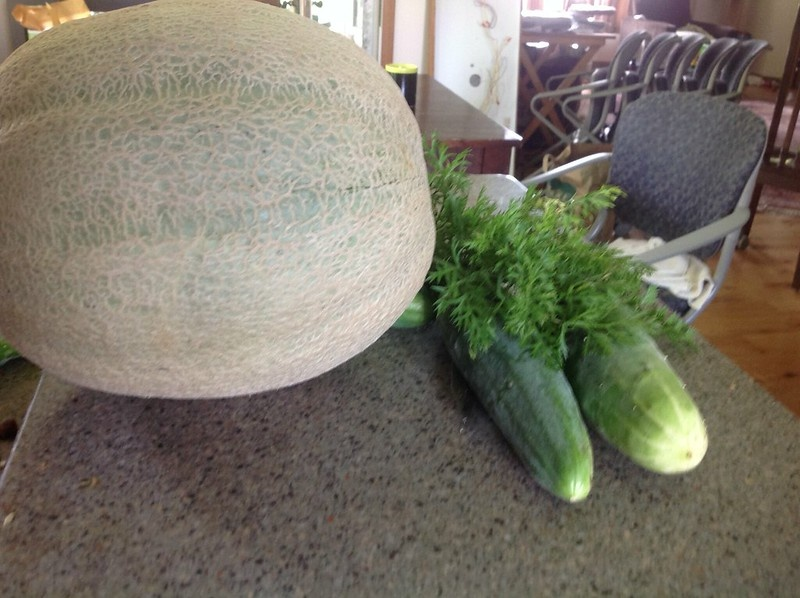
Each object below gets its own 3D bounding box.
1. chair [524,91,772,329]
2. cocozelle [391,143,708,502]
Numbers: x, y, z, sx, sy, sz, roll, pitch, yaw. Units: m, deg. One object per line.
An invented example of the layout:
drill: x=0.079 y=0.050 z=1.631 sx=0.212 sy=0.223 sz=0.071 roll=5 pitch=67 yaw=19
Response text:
chair: x=0.589 y=-0.276 z=1.329 sx=0.459 sy=0.597 sz=0.438 roll=-13 pitch=32 yaw=-26
cocozelle: x=0.153 y=-0.008 z=0.625 sx=0.232 sy=0.200 sz=0.416 roll=-23 pitch=45 yaw=-25
